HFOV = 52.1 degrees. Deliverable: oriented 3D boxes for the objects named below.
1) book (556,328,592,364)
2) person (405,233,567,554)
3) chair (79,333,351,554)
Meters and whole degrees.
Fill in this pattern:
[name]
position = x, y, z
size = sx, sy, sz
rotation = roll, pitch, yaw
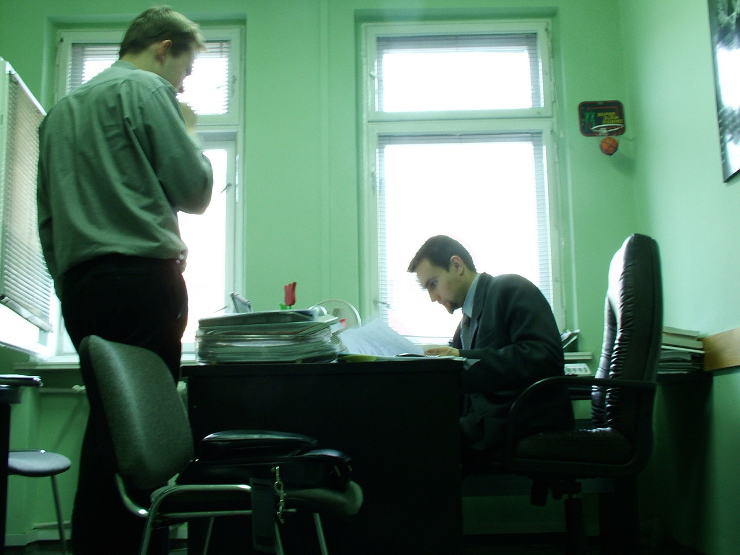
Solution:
[book]
position = 1.136, 0.392, 4.245
size = 0.175, 0.225, 0.227
rotation = -2, -6, 9
[person]
position = 0.400, 0.657, 3.566
size = 0.808, 0.808, 1.488
rotation = -6, 48, 2
[chair]
position = -0.414, 0.521, 2.515
size = 0.778, 0.832, 0.587
rotation = -3, -13, -2
